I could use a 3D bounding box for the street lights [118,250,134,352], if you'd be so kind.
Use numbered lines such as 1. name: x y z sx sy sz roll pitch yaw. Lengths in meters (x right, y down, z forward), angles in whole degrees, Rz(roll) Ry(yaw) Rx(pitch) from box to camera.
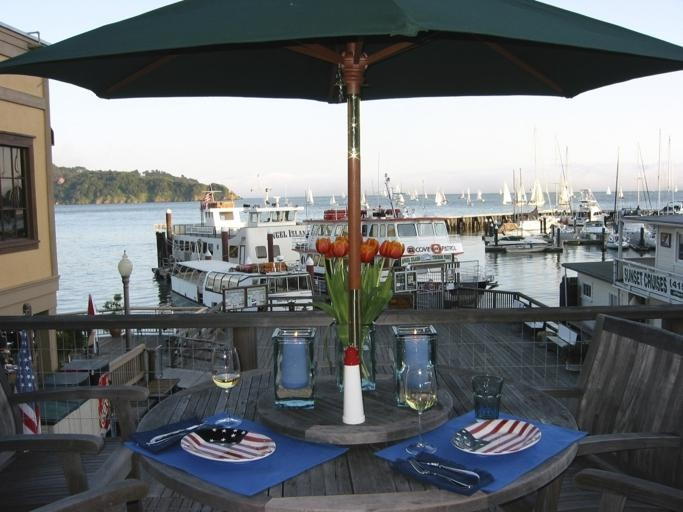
1. street lights: -3.608 0.786 10.359 0.245 1.717 0.258 -2 0 3

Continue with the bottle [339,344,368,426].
1. bottle: 0.046 0.583 2.807 0.093 0.355 0.097 0 0 0

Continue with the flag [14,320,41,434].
1. flag: -2.598 1.033 5.137 0.190 1.140 0.156 0 28 -17

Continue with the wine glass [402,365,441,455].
1. wine glass: 0.348 0.668 2.715 0.125 0.391 0.140 1 -2 -12

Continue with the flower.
1. flower: 0.082 0.152 3.229 0.470 0.749 0.439 0 -1 30

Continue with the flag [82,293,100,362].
1. flag: -4.963 1.380 12.221 0.238 1.350 0.233 -4 -9 -12
